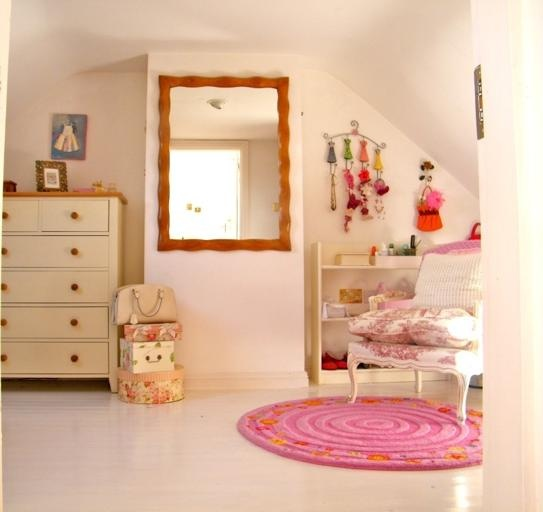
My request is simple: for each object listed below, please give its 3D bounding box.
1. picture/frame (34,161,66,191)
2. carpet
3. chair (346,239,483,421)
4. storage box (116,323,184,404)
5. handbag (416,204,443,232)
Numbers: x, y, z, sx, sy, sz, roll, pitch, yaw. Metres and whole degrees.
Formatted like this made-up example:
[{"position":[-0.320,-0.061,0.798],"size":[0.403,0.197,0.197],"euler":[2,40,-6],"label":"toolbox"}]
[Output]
[{"position":[-1.546,-0.558,3.708],"size":[0.258,0.233,0.026],"euler":[-2,-6,-21],"label":"picture/frame"},{"position":[0.442,0.816,2.531],"size":[1.215,0.042,1.103],"euler":[-1,-2,-4],"label":"carpet"},{"position":[0.840,0.408,3.087],"size":[0.729,0.920,0.914],"euler":[-2,-2,20],"label":"chair"},{"position":[-0.720,0.671,3.415],"size":[0.493,0.458,0.464],"euler":[0,-2,-15],"label":"storage box"},{"position":[1.241,-0.301,4.192],"size":[0.243,0.250,0.148],"euler":[-1,-3,-4],"label":"handbag"}]
